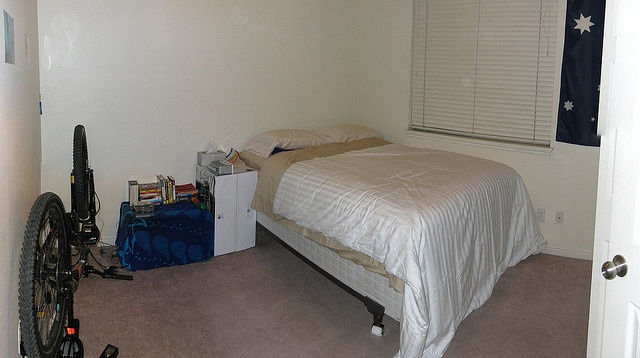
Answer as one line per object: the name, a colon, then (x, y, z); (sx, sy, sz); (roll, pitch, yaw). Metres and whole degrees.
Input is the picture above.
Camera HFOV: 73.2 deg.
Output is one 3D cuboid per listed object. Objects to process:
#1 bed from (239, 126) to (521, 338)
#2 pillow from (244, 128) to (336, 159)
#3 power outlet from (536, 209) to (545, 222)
bed: (0.546, 0.089, 5.311); (2.472, 1.055, 3.106); (-11, 24, -35)
pillow: (-0.373, -0.477, 5.474); (0.799, 0.185, 0.490); (-8, 15, -39)
power outlet: (2.656, 0.440, 5.212); (0.079, 0.151, 0.035); (2, 14, 19)
